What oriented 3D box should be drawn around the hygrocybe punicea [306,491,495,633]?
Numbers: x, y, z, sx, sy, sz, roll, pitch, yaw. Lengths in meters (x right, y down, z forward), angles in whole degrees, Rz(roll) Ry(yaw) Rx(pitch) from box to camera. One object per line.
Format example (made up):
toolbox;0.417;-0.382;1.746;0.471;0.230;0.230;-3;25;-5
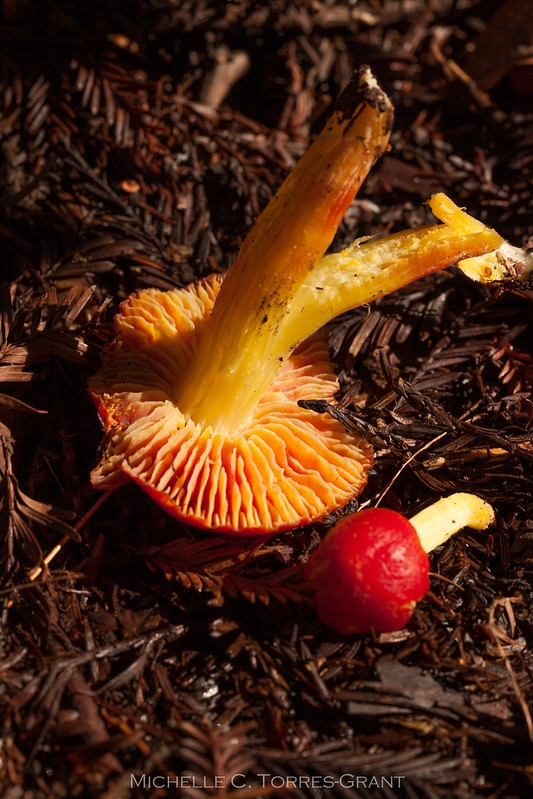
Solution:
hygrocybe punicea;0.152;0.185;0.883;0.115;0.099;0.190;33;70;15
